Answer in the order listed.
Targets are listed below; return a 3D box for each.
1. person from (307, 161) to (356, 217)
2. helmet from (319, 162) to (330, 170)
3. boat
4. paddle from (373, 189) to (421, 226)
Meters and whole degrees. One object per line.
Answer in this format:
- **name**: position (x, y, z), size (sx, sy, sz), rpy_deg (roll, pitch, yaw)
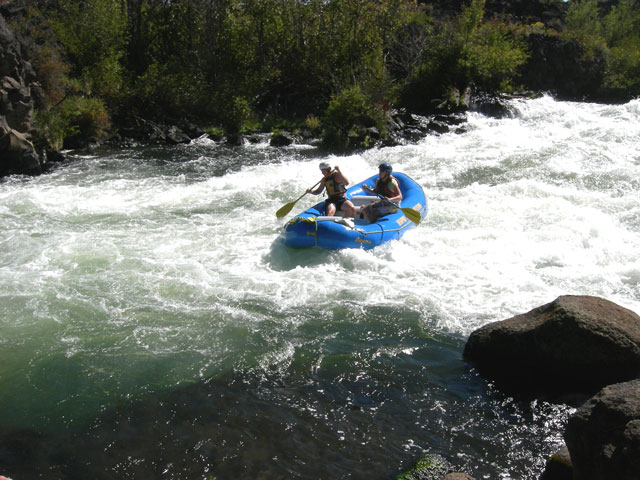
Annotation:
- **person**: position (0.272, -0.906, 14.551), size (0.975, 0.819, 1.602), rpy_deg (-7, 74, -14)
- **helmet**: position (0.115, -1.642, 14.543), size (0.211, 0.155, 0.275), rpy_deg (-2, 40, 0)
- **boat**: position (1.152, -0.447, 14.378), size (1.608, 0.728, 3.066), rpy_deg (25, 32, 31)
- **paddle**: position (1.718, -0.684, 14.656), size (0.137, 0.213, 1.492), rpy_deg (13, 20, -47)
